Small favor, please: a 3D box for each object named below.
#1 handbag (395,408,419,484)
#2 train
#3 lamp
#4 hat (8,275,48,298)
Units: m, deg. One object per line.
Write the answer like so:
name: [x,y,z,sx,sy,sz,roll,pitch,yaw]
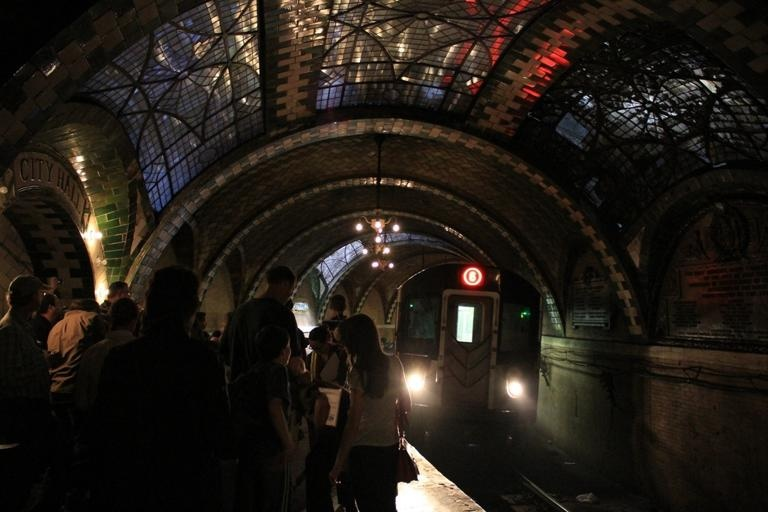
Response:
handbag: [0.185,2.057,6.394,0.270,0.515,0.312,-10,-3,19]
train: [3.152,2.423,14.812,3.071,4.036,6.413,1,-5,29]
lamp: [-0.166,-1.942,17.651,1.237,3.203,1.276,7,23,16]
hat: [-4.164,0.354,6.902,0.277,0.218,0.386,7,19,43]
